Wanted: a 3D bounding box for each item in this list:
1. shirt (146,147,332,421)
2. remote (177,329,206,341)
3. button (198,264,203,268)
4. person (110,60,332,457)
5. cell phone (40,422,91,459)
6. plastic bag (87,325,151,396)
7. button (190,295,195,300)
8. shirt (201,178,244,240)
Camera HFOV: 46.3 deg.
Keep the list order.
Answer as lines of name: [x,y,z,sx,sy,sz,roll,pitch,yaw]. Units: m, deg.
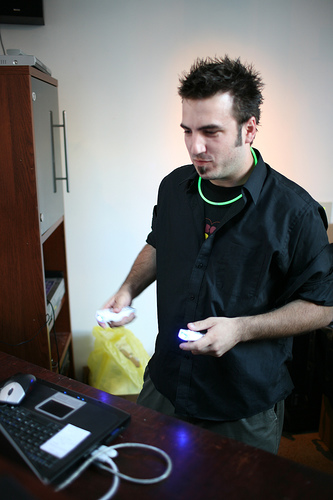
shirt: [0.196,0.102,1.244,0.625,0.650,0.259,8,4,35]
remote: [0.063,0.208,0.972,0.063,0.020,0.060,6,4,5]
button: [0.102,0.048,1.171,0.010,0.010,0.002,-2,-6,17]
person: [0.121,0.038,1.183,0.679,0.908,0.486,9,4,37]
cell phone: [-0.193,0.363,0.744,0.064,0.012,0.087,8,4,27]
plastic bag: [-0.252,0.652,2.256,0.357,0.350,0.321,0,5,34]
button: [0.078,0.143,1.172,0.010,0.010,0.002,16,6,15]
shirt: [0.148,-0.123,1.201,0.123,0.174,0.032,2,-1,28]
